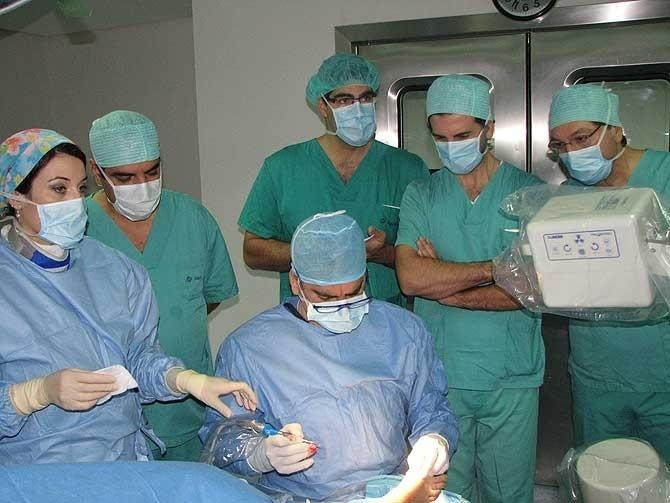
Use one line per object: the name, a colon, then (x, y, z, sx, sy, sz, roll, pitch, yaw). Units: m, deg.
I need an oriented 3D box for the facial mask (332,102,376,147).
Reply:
facial mask: (0.076, -0.514, 2.315, 0.138, 0.165, 0.170, -6, 15, -9)

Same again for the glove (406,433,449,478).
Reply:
glove: (0.257, 0.537, 1.582, 0.084, 0.044, 0.114, -6, 16, 23)

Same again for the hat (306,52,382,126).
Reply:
hat: (0.023, -0.678, 2.358, 0.238, 0.283, 0.122, -7, 48, -16)

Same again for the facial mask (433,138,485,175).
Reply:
facial mask: (0.443, -0.347, 2.073, 0.114, 0.086, 0.143, 1, 39, 32)

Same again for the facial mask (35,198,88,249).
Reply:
facial mask: (-0.744, -0.085, 1.581, 0.121, 0.088, 0.113, 10, 14, 23)

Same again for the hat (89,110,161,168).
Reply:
hat: (-0.764, -0.401, 2.097, 0.198, 0.145, 0.214, -8, 27, 0)
